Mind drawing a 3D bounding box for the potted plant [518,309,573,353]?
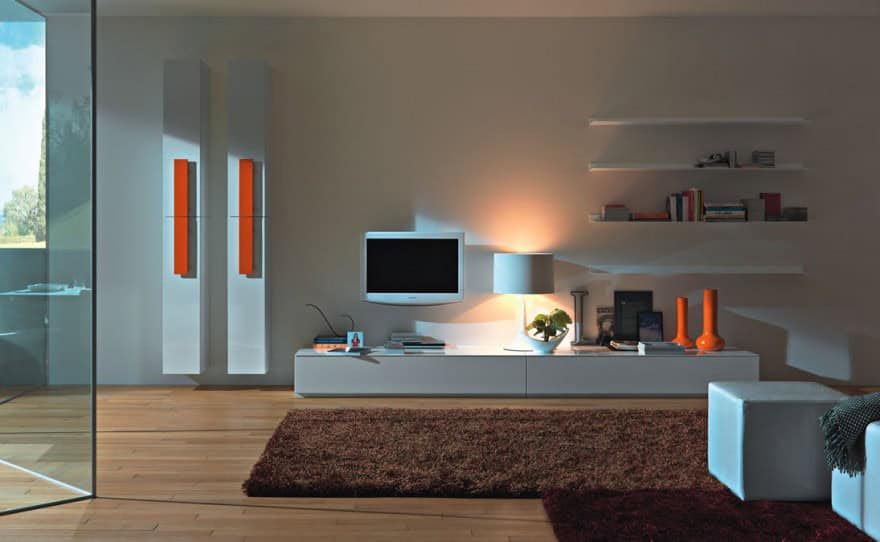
[{"bbox_3d":[0.995,0.576,6.951,0.445,0.196,0.467,-10,-8,35],"label":"potted plant"}]

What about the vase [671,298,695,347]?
[{"bbox_3d":[2.343,0.495,6.995,0.207,0.501,0.404,0,-2,18],"label":"vase"}]

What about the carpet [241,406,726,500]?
[{"bbox_3d":[0.335,1.396,5.689,3.425,0.422,1.287,0,-2,0],"label":"carpet"}]

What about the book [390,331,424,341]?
[{"bbox_3d":[-0.330,0.640,7.088,0.312,0.083,0.192,1,-2,-3],"label":"book"}]

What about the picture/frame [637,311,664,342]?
[{"bbox_3d":[2.061,0.552,7.149,0.327,0.348,0.050,0,-3,-2],"label":"picture/frame"}]

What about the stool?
[{"bbox_3d":[2.327,1.128,5.134,0.893,0.606,0.805,-1,1,1],"label":"stool"}]

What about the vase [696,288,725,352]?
[{"bbox_3d":[2.580,0.471,6.944,0.246,0.588,0.184,0,-2,7],"label":"vase"}]

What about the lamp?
[{"bbox_3d":[0.798,0.299,6.999,0.587,0.931,0.373,1,-2,3],"label":"lamp"}]

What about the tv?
[{"bbox_3d":[-0.261,-0.030,7.025,0.806,0.519,0.104,0,-1,3],"label":"tv"}]
